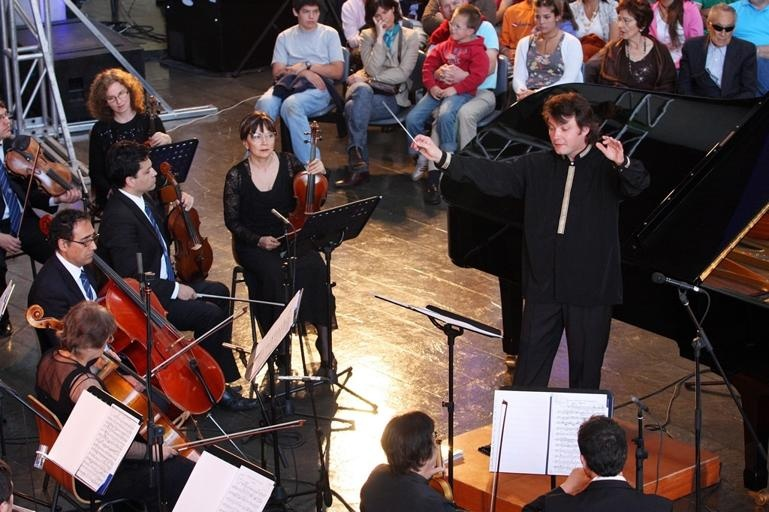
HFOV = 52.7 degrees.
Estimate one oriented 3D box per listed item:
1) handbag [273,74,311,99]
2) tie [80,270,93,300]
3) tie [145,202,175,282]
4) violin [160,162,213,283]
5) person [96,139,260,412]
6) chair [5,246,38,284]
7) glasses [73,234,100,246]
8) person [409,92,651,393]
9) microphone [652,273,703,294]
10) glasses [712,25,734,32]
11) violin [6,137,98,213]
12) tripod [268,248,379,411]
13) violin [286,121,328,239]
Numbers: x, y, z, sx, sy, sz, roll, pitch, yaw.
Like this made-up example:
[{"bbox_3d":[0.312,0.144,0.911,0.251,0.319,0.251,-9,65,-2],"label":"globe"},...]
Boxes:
[{"bbox_3d":[-1.016,-1.855,8.464,0.331,0.115,0.250,-14,30,-22],"label":"handbag"},{"bbox_3d":[-1.970,0.198,5.130,0.047,0.185,0.115,-6,1,15],"label":"tie"},{"bbox_3d":[-1.625,-0.098,5.640,0.105,0.566,0.231,-13,3,8],"label":"tie"},{"bbox_3d":[-1.580,-0.227,6.077,0.300,0.966,0.398,-9,6,35],"label":"violin"},{"bbox_3d":[-1.365,0.227,5.823,1.015,1.867,0.765,-12,-21,12],"label":"person"},{"bbox_3d":[-3.077,0.085,6.558,0.197,0.184,0.154,33,30,-1],"label":"chair"},{"bbox_3d":[-1.967,-0.090,5.062,0.085,0.025,0.087,10,23,32],"label":"glasses"},{"bbox_3d":[0.967,-0.077,4.766,1.050,1.817,0.320,12,19,17],"label":"person"},{"bbox_3d":[1.675,0.162,4.474,0.284,0.105,0.039,15,18,22],"label":"microphone"},{"bbox_3d":[3.098,-2.085,7.132,0.185,0.066,0.078,11,19,12],"label":"glasses"},{"bbox_3d":[-2.789,-0.663,6.426,0.148,0.295,0.723,-5,-33,39],"label":"violin"},{"bbox_3d":[-0.471,0.588,5.720,0.736,1.014,0.759,11,26,28],"label":"tripod"},{"bbox_3d":[-0.582,-0.581,6.025,0.333,0.794,0.248,3,4,-20],"label":"violin"}]
